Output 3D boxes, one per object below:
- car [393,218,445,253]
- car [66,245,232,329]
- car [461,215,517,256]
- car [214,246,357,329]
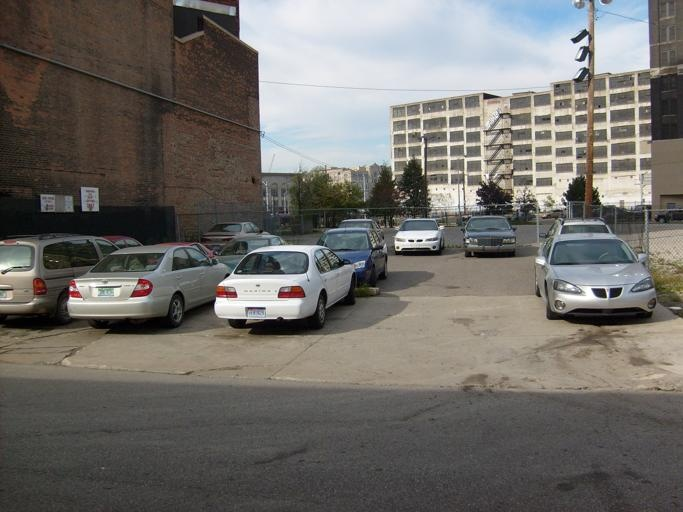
[{"bbox_3d":[3.764,-0.832,26.572,2.013,1.759,2.477,-2,4,16],"label":"car"},{"bbox_3d":[-4.163,0.698,12.151,1.525,1.757,3.095,-2,5,24],"label":"car"},{"bbox_3d":[6.762,-0.798,25.100,2.235,1.925,2.144,-3,4,12],"label":"car"},{"bbox_3d":[-1.010,0.668,11.800,1.721,1.711,3.080,-1,5,31],"label":"car"}]
